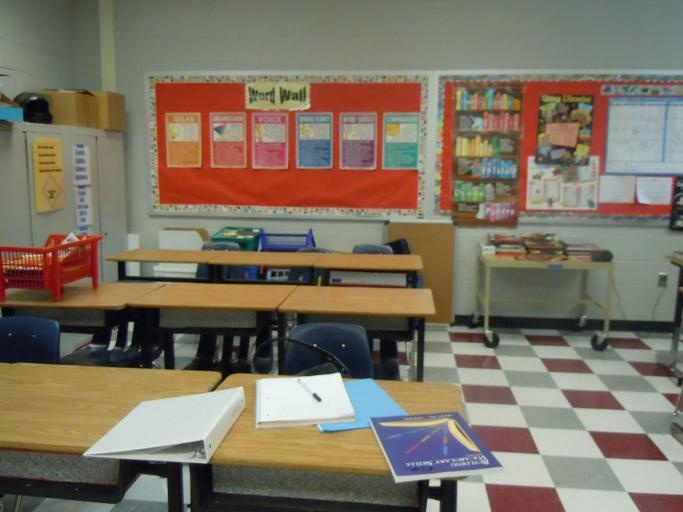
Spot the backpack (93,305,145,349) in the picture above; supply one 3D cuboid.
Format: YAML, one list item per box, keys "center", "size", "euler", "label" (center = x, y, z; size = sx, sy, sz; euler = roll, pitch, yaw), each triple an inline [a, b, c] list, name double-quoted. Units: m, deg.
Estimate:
- center: [-1.609, 0.502, 4.213]
  size: [0.261, 0.279, 0.436]
  euler: [-3, -1, -6]
  label: "backpack"

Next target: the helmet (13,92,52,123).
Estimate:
- center: [-2.956, -1.438, 5.679]
  size: [0.300, 0.339, 0.360]
  euler: [-3, -20, -24]
  label: "helmet"

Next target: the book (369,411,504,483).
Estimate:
- center: [0.390, 0.814, 2.485]
  size: [0.357, 0.039, 0.363]
  euler: [-1, 16, -5]
  label: "book"

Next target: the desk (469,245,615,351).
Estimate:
- center: [2.084, 0.315, 6.101]
  size: [1.562, 0.917, 1.043]
  euler: [1, 13, 6]
  label: "desk"

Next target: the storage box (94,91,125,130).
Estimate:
- center: [-2.520, -1.580, 6.314]
  size: [0.279, 0.343, 0.493]
  euler: [2, 7, 5]
  label: "storage box"

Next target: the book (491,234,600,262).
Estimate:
- center: [2.057, -0.094, 5.957]
  size: [1.239, 0.250, 0.385]
  euler: [3, 10, 24]
  label: "book"
